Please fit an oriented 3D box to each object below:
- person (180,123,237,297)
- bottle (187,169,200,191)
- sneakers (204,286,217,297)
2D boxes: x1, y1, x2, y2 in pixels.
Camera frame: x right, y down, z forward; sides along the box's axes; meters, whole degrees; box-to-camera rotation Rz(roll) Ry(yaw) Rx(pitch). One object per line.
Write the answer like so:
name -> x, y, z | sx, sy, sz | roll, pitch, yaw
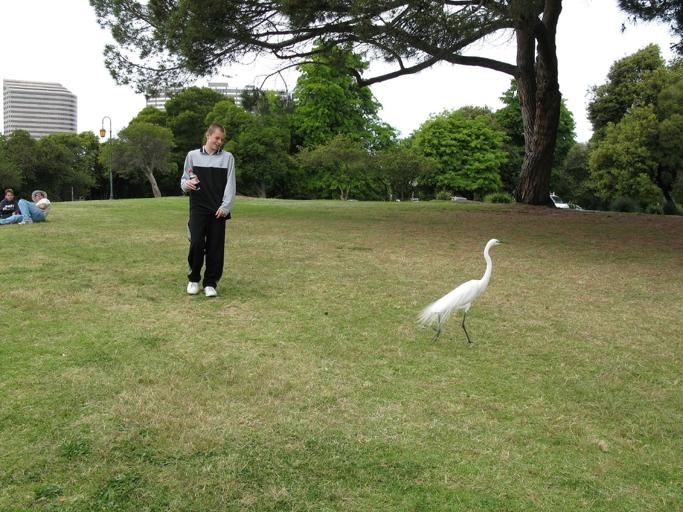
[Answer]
person -> -2.123, -0.749, 9.956 | 0.814, 2.680, 0.861 | -1, 13, -13
bottle -> -2.336, -1.217, 9.841 | 0.151, 0.287, 0.310 | -7, 16, -35
sneakers -> -2.083, 0.561, 9.933 | 0.210, 0.151, 0.234 | 0, 14, -12
